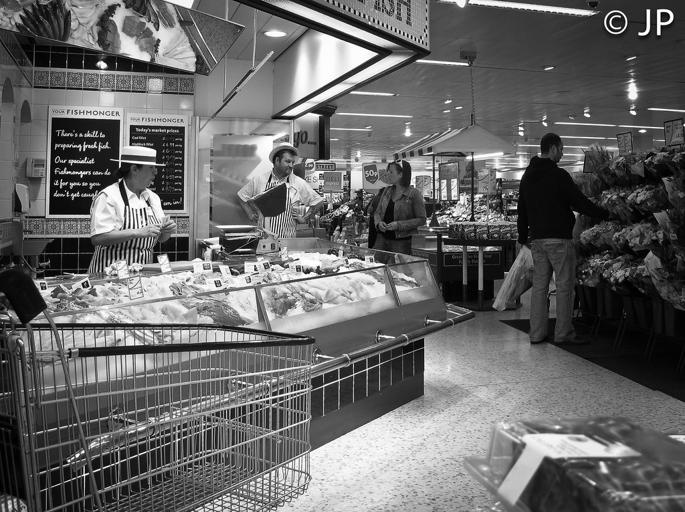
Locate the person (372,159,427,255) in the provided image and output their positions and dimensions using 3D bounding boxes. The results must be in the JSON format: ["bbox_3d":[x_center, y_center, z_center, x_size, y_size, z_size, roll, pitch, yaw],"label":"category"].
[{"bbox_3d":[0.773,-0.617,7.035,0.671,1.300,1.857,0,5,4],"label":"person"}]

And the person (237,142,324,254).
[{"bbox_3d":[-0.706,-0.776,6.066,0.983,1.131,2.089,-2,5,-15],"label":"person"}]

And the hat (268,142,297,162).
[{"bbox_3d":[-0.692,-1.227,5.994,0.208,0.226,0.481,-2,5,-19],"label":"hat"}]

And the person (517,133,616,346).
[{"bbox_3d":[2.221,-0.172,5.359,0.543,2.194,0.906,-2,5,-16],"label":"person"}]
